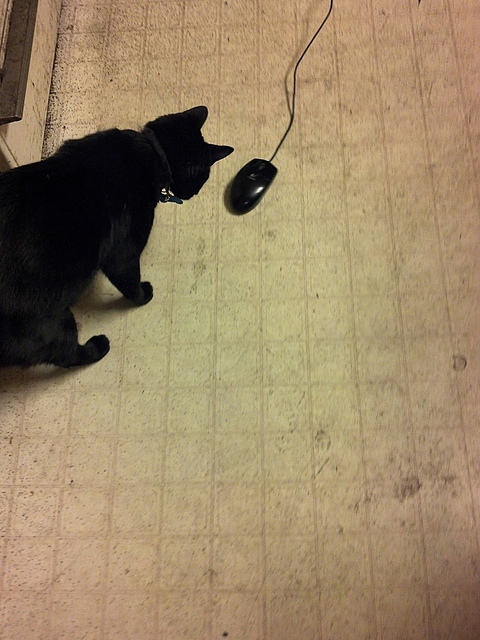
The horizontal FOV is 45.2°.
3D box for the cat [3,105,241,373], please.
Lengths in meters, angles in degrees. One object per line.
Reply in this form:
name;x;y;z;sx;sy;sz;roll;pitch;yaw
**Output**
cat;-0.269;-0.159;1.364;0.172;0.292;0.642;38;69;23
